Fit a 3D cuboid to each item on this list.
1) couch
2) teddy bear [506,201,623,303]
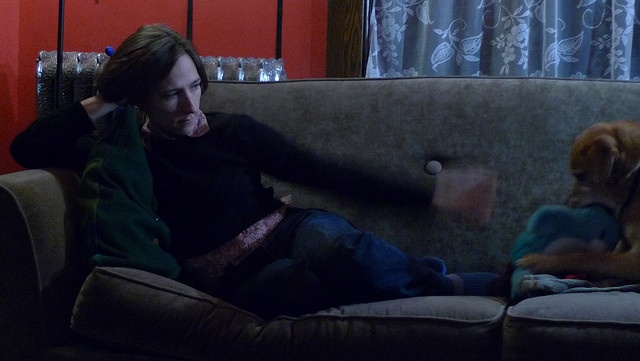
[{"bbox_3d":[0.088,0.111,2.269,2.305,0.947,0.633,0,9,0],"label":"couch"},{"bbox_3d":[0.881,0.243,2.265,0.360,0.357,0.140,4,-2,10],"label":"teddy bear"}]
